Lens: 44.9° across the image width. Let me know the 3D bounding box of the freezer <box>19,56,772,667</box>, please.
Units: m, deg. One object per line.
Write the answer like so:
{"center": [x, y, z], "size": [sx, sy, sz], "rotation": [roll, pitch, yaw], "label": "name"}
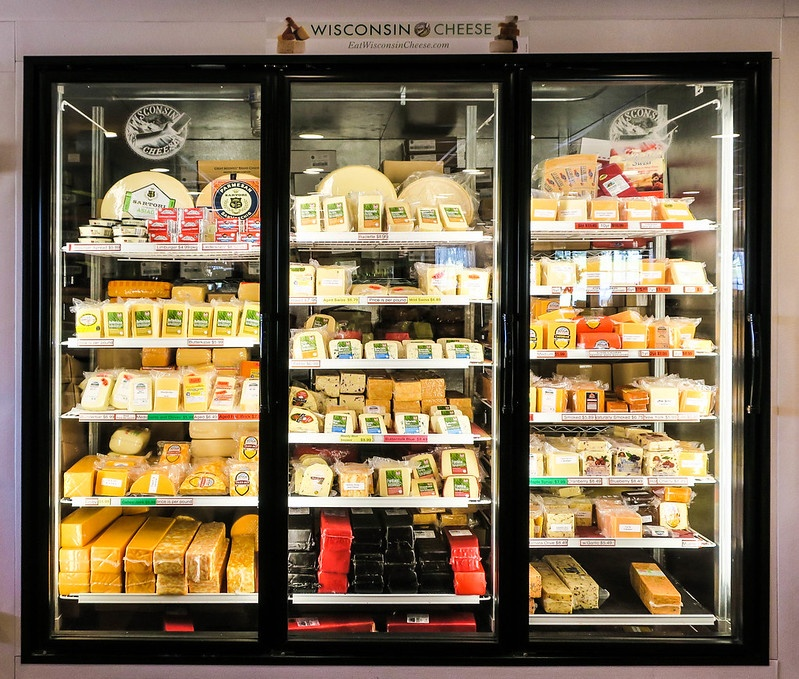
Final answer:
{"center": [-0.034, 0.132, 5.314], "size": [3.768, 3.262, 1.329], "rotation": [-1, -1, 3], "label": "freezer"}
